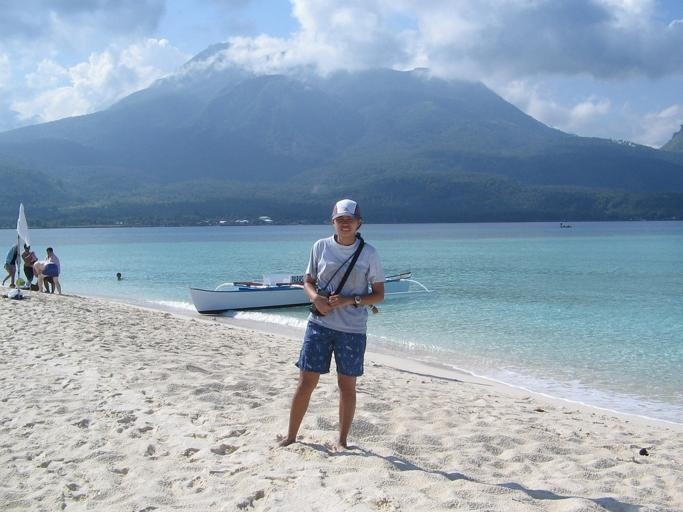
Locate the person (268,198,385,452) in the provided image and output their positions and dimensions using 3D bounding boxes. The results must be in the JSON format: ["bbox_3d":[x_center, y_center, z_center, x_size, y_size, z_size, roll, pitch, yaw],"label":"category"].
[{"bbox_3d":[-0.071,0.983,6.858,0.928,2.374,0.507,6,2,-4],"label":"person"}]

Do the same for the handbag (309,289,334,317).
[{"bbox_3d":[-0.234,0.519,6.750,0.244,0.111,0.294,-10,-40,-24],"label":"handbag"}]

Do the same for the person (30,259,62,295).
[{"bbox_3d":[-9.577,0.463,19.916,0.633,1.394,0.562,0,-6,-4],"label":"person"}]

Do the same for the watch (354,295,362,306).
[{"bbox_3d":[0.178,0.484,6.632,0.069,0.088,0.104,-1,-9,1],"label":"watch"}]

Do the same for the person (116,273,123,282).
[{"bbox_3d":[-13.893,1.346,37.729,0.474,0.286,1.419,-17,-3,-14],"label":"person"}]

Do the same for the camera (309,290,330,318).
[{"bbox_3d":[-0.288,0.539,6.782,0.109,0.212,0.308,46,-36,-20],"label":"camera"}]
